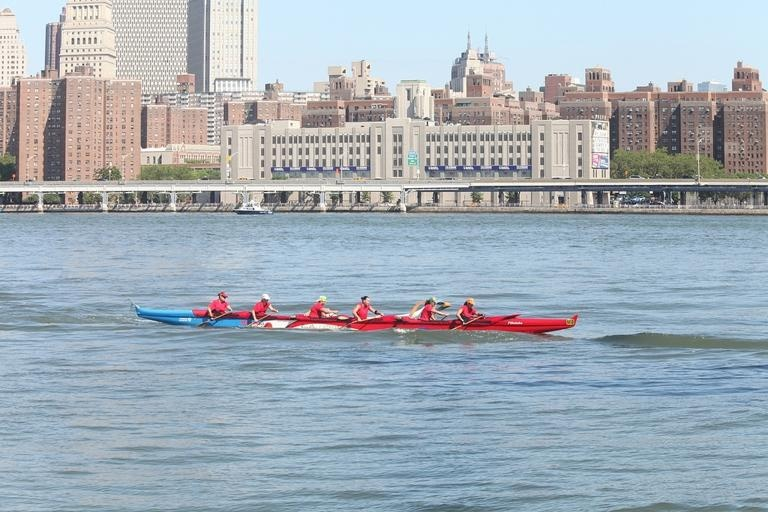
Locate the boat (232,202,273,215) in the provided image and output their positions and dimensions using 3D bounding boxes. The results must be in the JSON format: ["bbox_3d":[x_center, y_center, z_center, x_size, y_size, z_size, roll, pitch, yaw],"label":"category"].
[{"bbox_3d":[-25.426,-9.030,352.802,8.031,2.364,2.902,-1,5,1],"label":"boat"}]

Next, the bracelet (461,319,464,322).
[{"bbox_3d":[7.557,6.181,175.136,0.237,0.170,0.048,-3,-21,5],"label":"bracelet"}]
